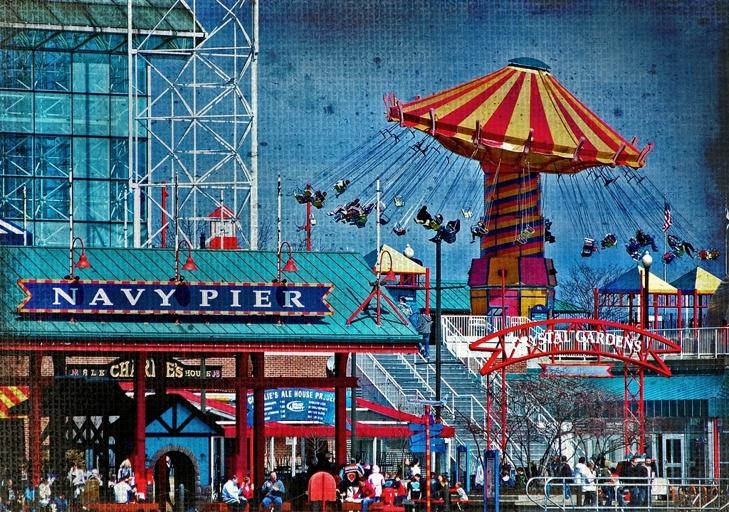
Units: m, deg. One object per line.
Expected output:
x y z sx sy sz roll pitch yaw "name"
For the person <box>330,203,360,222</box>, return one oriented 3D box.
-0.580 -1.310 64.108 0.703 0.516 0.259 -14 1 13 "person"
